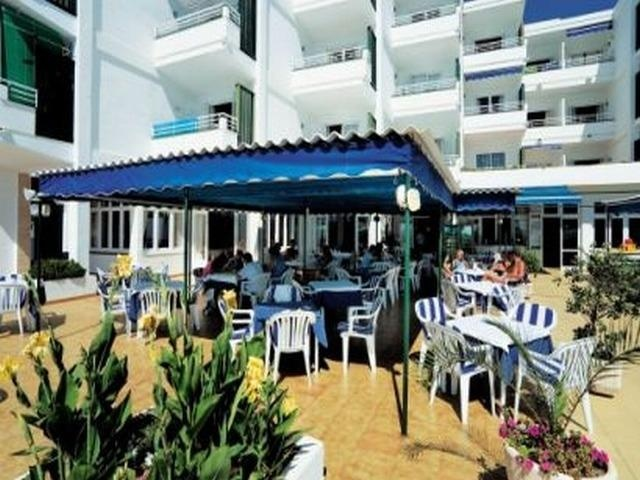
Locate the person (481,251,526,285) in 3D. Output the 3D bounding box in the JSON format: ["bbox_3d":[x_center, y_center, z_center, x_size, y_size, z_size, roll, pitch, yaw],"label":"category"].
[{"bbox_3d":[5.017,0.583,14.952,0.961,0.911,1.190,7,-19,4],"label":"person"}]

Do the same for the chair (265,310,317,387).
[{"bbox_3d":[-0.600,2.124,11.287,1.108,1.959,1.261,-1,7,-9],"label":"chair"}]

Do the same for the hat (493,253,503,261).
[{"bbox_3d":[5.477,0.516,17.253,0.153,0.238,0.202,-9,-13,42],"label":"hat"}]

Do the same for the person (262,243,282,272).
[{"bbox_3d":[-1.597,0.582,18.306,0.383,0.813,0.745,1,2,17],"label":"person"}]

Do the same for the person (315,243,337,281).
[{"bbox_3d":[0.153,0.675,17.386,0.413,1.175,0.361,2,40,-11],"label":"person"}]

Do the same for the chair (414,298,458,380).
[{"bbox_3d":[2.317,1.832,11.400,0.994,1.738,1.162,2,-5,-24],"label":"chair"}]

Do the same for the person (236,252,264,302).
[{"bbox_3d":[-1.750,1.057,14.223,0.594,1.643,0.703,-10,22,-28],"label":"person"}]

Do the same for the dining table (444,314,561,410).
[{"bbox_3d":[3.578,1.969,10.852,1.700,1.540,1.733,0,2,-32],"label":"dining table"}]
